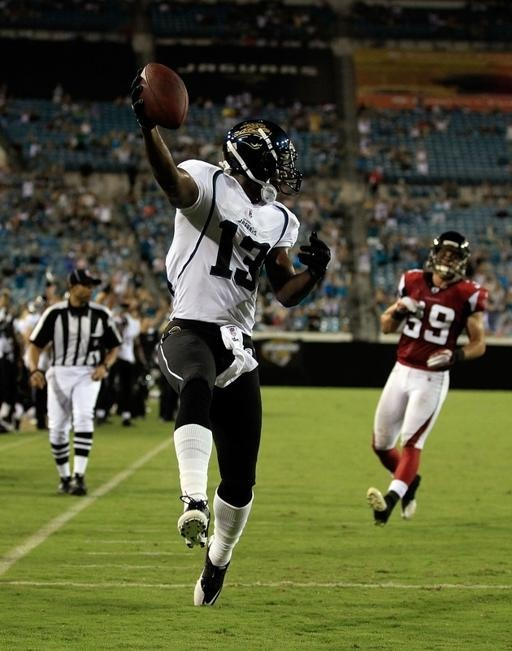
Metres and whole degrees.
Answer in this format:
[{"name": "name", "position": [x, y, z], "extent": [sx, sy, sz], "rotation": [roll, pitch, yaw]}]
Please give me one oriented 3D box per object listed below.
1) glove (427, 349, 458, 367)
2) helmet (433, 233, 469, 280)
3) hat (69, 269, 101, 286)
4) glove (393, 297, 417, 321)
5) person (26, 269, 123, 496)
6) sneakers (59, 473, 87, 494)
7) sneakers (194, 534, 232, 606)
[{"name": "glove", "position": [1.051, 0.193, 5.031], "extent": [0.137, 0.114, 0.224], "rotation": [5, 5, 15]}, {"name": "helmet", "position": [1.148, -0.411, 5.294], "extent": [0.218, 0.287, 0.208], "rotation": [5, 6, 9]}, {"name": "hat", "position": [-1.228, -0.350, 6.493], "extent": [0.242, 0.101, 0.127], "rotation": [0, 6, -4]}, {"name": "glove", "position": [0.881, -0.099, 5.204], "extent": [0.136, 0.056, 0.134], "rotation": [-6, -19, -18]}, {"name": "person", "position": [-1.329, 0.417, 6.430], "extent": [0.648, 1.647, 0.839], "rotation": [4, 6, -8]}, {"name": "sneakers", "position": [-1.289, 1.125, 6.318], "extent": [0.103, 0.102, 0.247], "rotation": [12, -28, -25]}, {"name": "sneakers", "position": [-0.221, 0.999, 3.587], "extent": [0.126, 0.150, 0.345], "rotation": [20, -37, 6]}]
